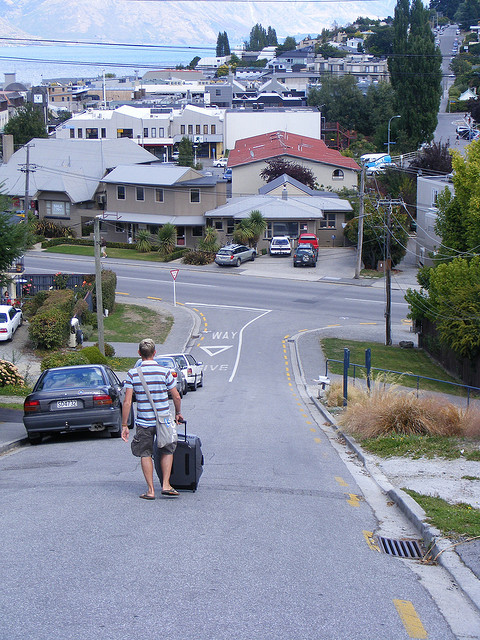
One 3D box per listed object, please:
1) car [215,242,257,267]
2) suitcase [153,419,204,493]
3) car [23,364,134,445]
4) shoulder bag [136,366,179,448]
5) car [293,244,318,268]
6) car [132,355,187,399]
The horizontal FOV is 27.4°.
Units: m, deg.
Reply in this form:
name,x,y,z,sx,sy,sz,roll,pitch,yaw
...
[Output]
name,x,y,z,sx,sy,sz,roll,pitch,yaw
car,-0.207,-3.910,59.241,0.974,1.248,3.267,5,13,27
suitcase,-0.517,1.457,10.391,0.394,0.768,0.468,-2,-1,-44
car,-2.481,1.229,15.622,1.078,0.885,2.544,-2,5,2
shoulder bag,-0.800,0.820,9.786,0.328,0.867,0.374,-1,5,-7
car,3.957,-3.826,58.444,1.037,0.976,2.383,0,12,5
car,-1.497,1.238,22.223,1.036,0.897,2.552,-1,-4,3
